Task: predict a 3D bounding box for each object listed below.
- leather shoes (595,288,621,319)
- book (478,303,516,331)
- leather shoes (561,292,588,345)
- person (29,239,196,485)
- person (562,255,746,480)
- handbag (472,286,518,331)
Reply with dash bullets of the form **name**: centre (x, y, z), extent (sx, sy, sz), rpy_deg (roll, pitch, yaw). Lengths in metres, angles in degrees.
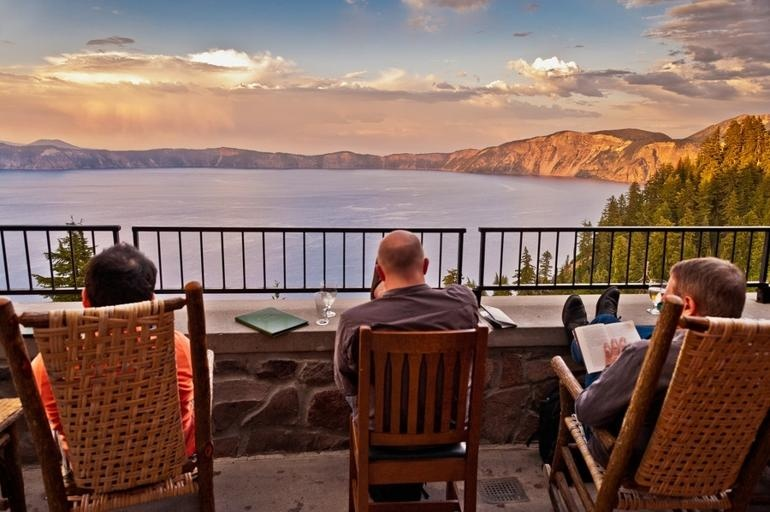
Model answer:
- **leather shoes**: centre (1.700, 0.364, 4.537), extent (0.079, 0.216, 0.106), rpy_deg (5, -24, 22)
- **book**: centre (0.844, 0.452, 4.444), extent (0.268, 0.108, 0.287), rpy_deg (2, 6, 9)
- **leather shoes**: centre (1.366, 0.423, 4.339), extent (0.188, 0.501, 0.211), rpy_deg (2, -7, 9)
- **person**: centre (-1.369, 0.600, 3.235), extent (1.038, 1.246, 0.687), rpy_deg (-6, 3, -12)
- **person**: centre (1.366, 0.431, 3.238), extent (0.735, 0.859, 1.615), rpy_deg (-3, 14, -1)
- **handbag**: centre (0.790, 0.412, 4.524), extent (0.509, 0.133, 0.276), rpy_deg (37, -20, -36)
